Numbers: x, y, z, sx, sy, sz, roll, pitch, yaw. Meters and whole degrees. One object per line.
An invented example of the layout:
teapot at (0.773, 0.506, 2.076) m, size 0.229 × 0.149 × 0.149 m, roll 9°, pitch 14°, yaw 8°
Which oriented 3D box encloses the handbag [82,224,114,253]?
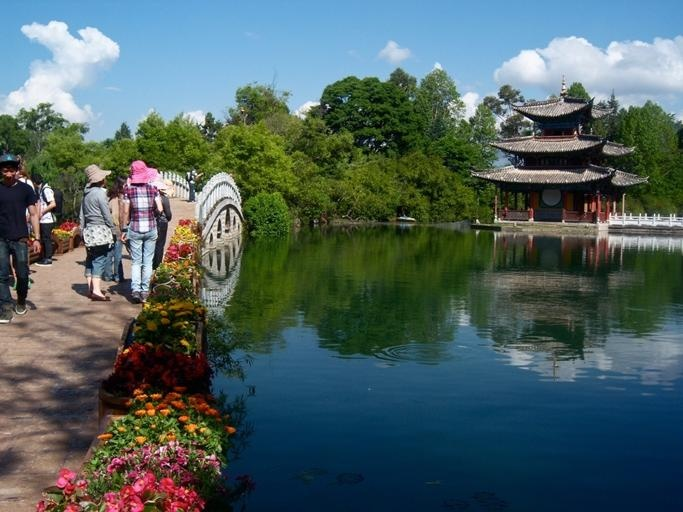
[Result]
handbag at (-4.620, -0.354, 12.762) m, size 0.740 × 0.488 × 0.395 m, roll 0°, pitch -6°, yaw -28°

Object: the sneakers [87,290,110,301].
sneakers at (-4.658, 0.761, 13.026) m, size 0.535 × 0.200 × 0.171 m, roll -1°, pitch 5°, yaw -24°
